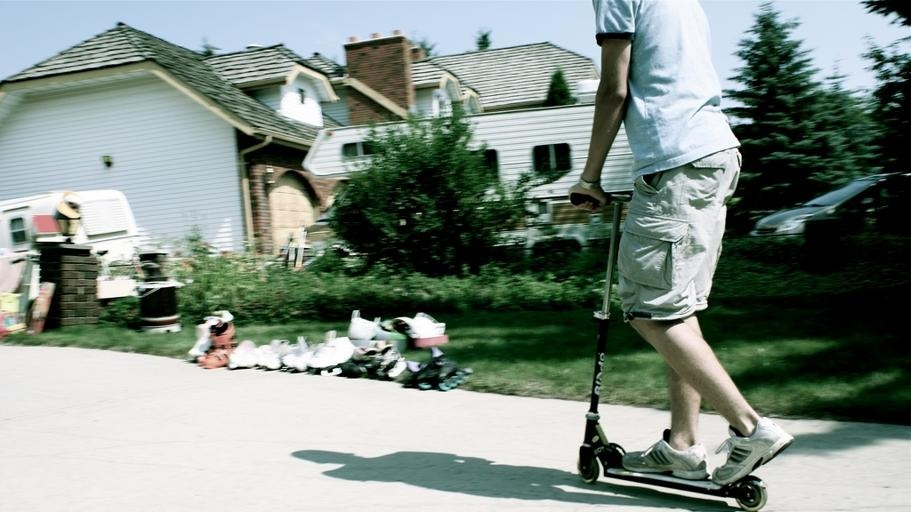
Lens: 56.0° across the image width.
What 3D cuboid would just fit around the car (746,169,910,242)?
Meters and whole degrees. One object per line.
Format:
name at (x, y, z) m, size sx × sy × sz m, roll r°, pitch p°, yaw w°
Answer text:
car at (6.605, -0.912, 15.702) m, size 3.207 × 0.614 × 1.103 m, roll -4°, pitch -3°, yaw -6°

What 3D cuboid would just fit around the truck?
truck at (-0.428, -1.449, 18.319) m, size 7.915 × 2.209 × 3.857 m, roll -3°, pitch 5°, yaw 8°
